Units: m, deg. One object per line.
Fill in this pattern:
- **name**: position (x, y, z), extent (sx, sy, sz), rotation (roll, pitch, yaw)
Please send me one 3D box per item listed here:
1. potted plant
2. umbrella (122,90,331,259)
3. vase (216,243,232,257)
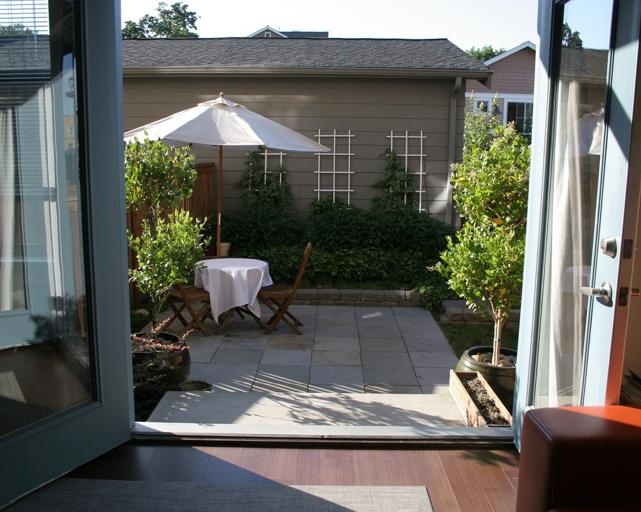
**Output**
- **potted plant**: position (-1.476, 0.280, 5.092), extent (0.733, 1.472, 2.446), rotation (-1, 5, -15)
- **umbrella**: position (-0.861, -0.821, 6.423), extent (2.384, 1.591, 2.297), rotation (2, 11, 7)
- **vase**: position (-1.438, -0.102, 7.938), extent (0.267, 0.181, 0.268), rotation (2, 4, 39)
